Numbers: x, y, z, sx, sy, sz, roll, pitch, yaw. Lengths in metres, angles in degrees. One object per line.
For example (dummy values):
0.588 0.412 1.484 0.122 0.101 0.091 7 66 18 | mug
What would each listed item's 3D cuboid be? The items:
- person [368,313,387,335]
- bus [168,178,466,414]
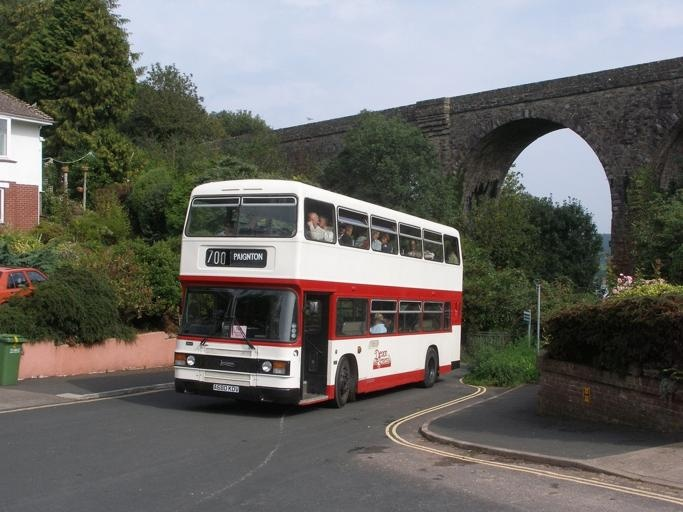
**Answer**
1.011 1.912 18.254 0.400 0.673 0.869 4 2 29 | person
0.671 1.287 19.374 2.957 5.614 12.012 0 -3 36 | bus
